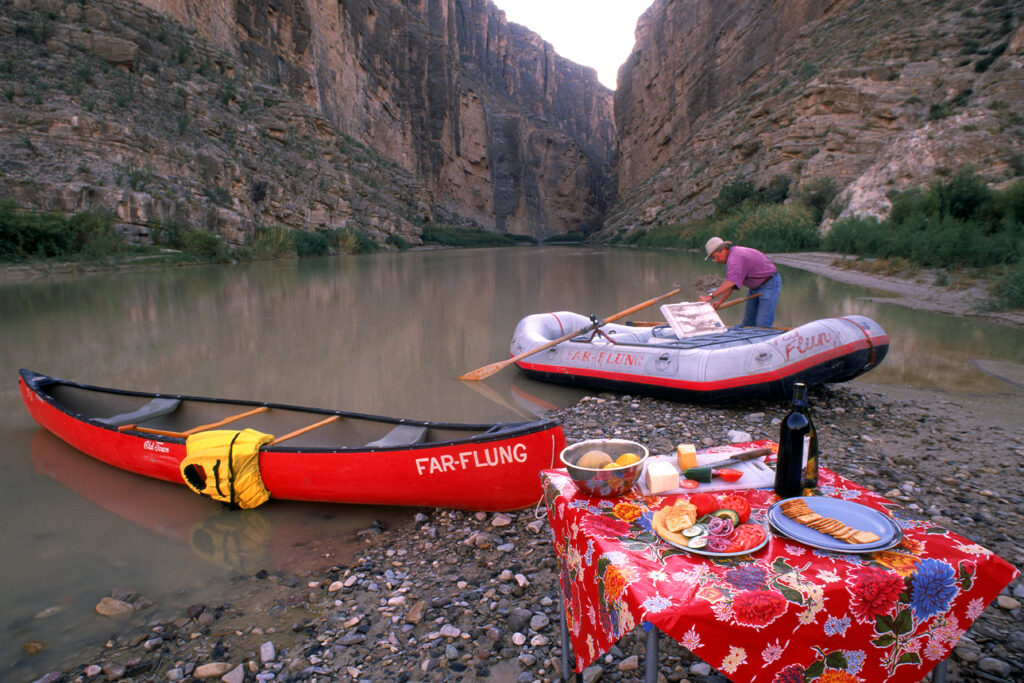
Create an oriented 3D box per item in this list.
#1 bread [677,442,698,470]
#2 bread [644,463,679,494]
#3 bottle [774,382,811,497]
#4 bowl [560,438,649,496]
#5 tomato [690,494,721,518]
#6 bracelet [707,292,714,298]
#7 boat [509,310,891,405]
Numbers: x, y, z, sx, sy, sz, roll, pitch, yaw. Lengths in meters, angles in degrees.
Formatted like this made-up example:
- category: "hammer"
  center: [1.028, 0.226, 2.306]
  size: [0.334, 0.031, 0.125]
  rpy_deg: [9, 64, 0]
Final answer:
- category: "bread"
  center: [1.469, 0.957, 5.514]
  size: [0.211, 0.190, 0.202]
  rpy_deg: [-3, 4, 0]
- category: "bread"
  center: [1.238, 1.133, 5.373]
  size: [0.242, 0.140, 0.234]
  rpy_deg: [-4, 14, -17]
- category: "bottle"
  center: [2.297, 0.790, 5.358]
  size: [0.325, 0.865, 0.327]
  rpy_deg: [1, 6, 0]
- category: "bowl"
  center: [0.777, 0.999, 5.571]
  size: [0.776, 0.438, 0.722]
  rpy_deg: [-1, 1, 0]
- category: "tomato"
  center: [1.536, 1.297, 5.185]
  size: [0.184, 0.172, 0.173]
  rpy_deg: [-6, -2, 4]
- category: "bracelet"
  center: [3.302, -0.765, 10.772]
  size: [0.075, 0.051, 0.079]
  rpy_deg: [15, -11, -20]
- category: "boat"
  center: [2.746, 0.227, 10.042]
  size: [5.227, 1.211, 1.418]
  rpy_deg: [3, 12, 27]
